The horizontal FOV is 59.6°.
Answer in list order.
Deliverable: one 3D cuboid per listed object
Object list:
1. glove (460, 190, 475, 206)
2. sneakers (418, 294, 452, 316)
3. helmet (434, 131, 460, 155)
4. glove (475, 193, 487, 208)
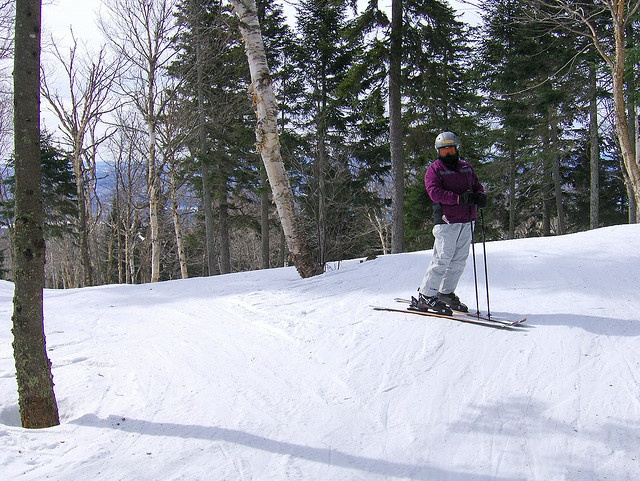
[{"bbox_3d":[2.256,-0.628,8.468,0.167,0.220,0.219,-1,20,-10],"label":"glove"},{"bbox_3d":[1.796,1.001,8.868,0.589,0.291,0.213,13,20,27],"label":"sneakers"},{"bbox_3d":[2.033,-1.535,8.907,0.280,0.391,0.379,-10,0,15],"label":"helmet"},{"bbox_3d":[2.460,-0.608,8.490,0.162,0.193,0.208,-5,0,38],"label":"glove"}]
